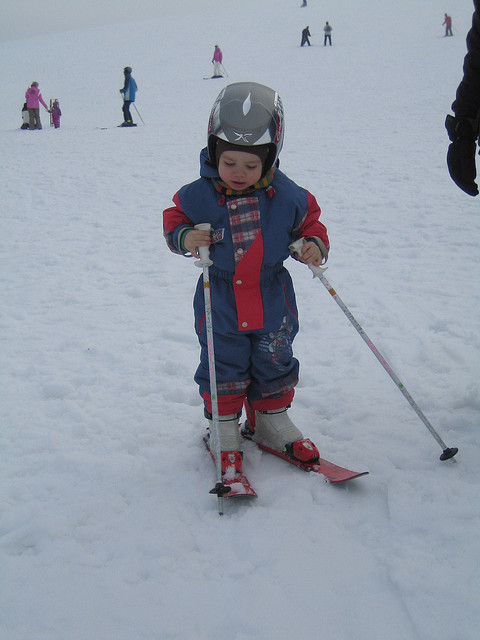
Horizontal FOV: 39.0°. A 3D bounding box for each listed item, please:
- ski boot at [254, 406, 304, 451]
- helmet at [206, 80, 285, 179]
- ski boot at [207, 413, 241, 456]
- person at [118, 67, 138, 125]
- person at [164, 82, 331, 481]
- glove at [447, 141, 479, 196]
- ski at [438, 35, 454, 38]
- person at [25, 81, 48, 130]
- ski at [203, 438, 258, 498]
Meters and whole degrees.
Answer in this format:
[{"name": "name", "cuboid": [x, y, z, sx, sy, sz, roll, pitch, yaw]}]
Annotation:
[{"name": "ski boot", "cuboid": [0.175, 0.479, 2.942, 0.124, 0.202, 0.342, -5, 6, -28]}, {"name": "helmet", "cuboid": [0.063, -0.750, 2.671, 0.324, 0.359, 0.359, 5, 61, 5]}, {"name": "ski boot", "cuboid": [-0.047, 0.471, 2.794, 0.083, 0.139, 0.220, -1, 23, -6]}, {"name": "person", "cuboid": [-2.181, -4.356, 13.233, 0.365, 1.060, 0.904, -10, 32, -7]}, {"name": "person", "cuboid": [0.068, -0.080, 2.732, 0.638, 1.590, 0.744, -8, 33, -5]}, {"name": "glove", "cuboid": [0.930, -0.622, 2.813, 0.140, 0.241, 0.192, 5, 33, 15]}, {"name": "ski", "cuboid": [6.997, -9.461, 22.677, 0.672, 0.020, 0.230, -25, 36, -34]}, {"name": "person", "cuboid": [-4.028, -4.202, 13.361, 0.459, 0.898, 0.364, 5, 18, -4]}, {"name": "ski", "cuboid": [-0.042, 0.602, 2.718, 0.148, 0.093, 0.576, -1, 12, -8]}]
